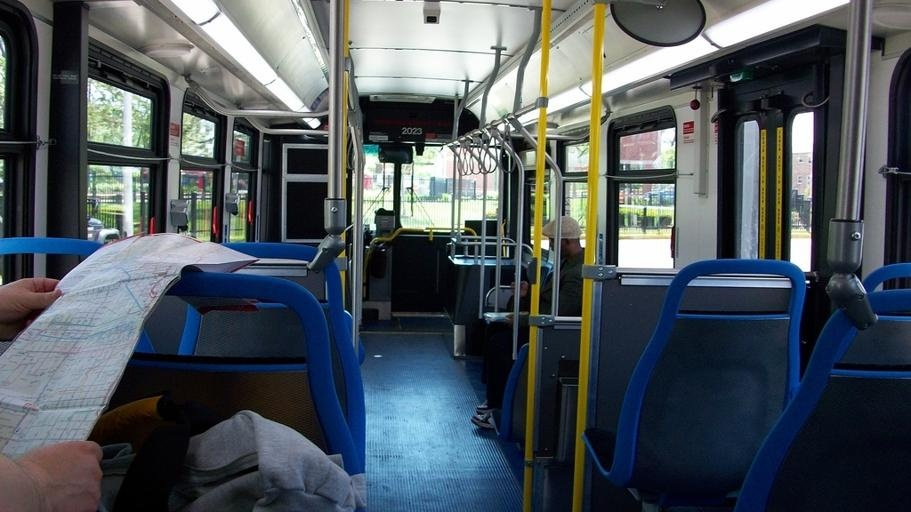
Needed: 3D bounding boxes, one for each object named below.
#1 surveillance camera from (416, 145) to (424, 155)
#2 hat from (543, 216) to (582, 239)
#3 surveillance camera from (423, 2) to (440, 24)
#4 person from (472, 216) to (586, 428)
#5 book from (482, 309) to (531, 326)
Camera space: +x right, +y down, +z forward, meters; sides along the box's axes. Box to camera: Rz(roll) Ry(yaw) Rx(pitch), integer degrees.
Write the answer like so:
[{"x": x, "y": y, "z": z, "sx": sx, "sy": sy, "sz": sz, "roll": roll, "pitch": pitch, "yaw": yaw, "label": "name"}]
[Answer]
[{"x": -0.600, "y": -1.813, "z": 10.260, "sx": 0.149, "sy": 0.197, "sz": 0.143, "roll": 0, "pitch": 11, "yaw": 1, "label": "surveillance camera"}, {"x": 1.057, "y": -0.293, "z": 6.083, "sx": 0.372, "sy": 0.184, "sz": 0.268, "roll": 17, "pitch": 13, "yaw": 16, "label": "hat"}, {"x": -0.196, "y": -1.999, "z": 5.039, "sx": 0.124, "sy": 0.140, "sz": 0.217, "roll": -1, "pitch": 6, "yaw": -6, "label": "surveillance camera"}, {"x": 0.797, "y": 0.681, "z": 6.274, "sx": 1.295, "sy": 2.113, "sz": 0.925, "roll": 1, "pitch": 8, "yaw": 10, "label": "person"}, {"x": 0.533, "y": 0.627, "z": 6.150, "sx": 0.542, "sy": 0.116, "sz": 0.519, "roll": 1, "pitch": -2, "yaw": -3, "label": "book"}]
